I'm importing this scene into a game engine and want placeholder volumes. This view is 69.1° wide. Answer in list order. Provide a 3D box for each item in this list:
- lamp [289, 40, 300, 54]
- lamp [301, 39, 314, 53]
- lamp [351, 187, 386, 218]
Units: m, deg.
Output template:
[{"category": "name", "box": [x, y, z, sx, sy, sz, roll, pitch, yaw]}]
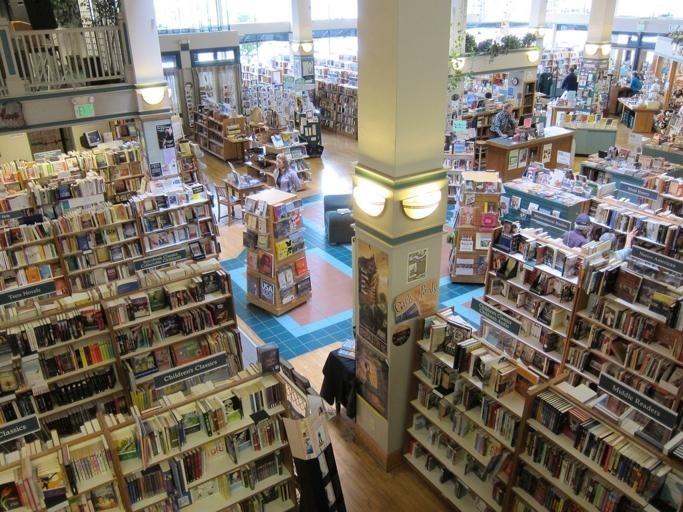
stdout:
[{"category": "lamp", "box": [-1.780, -7.785, 18.434, 0.154, 0.461, 0.793, -9, 24, -19]}, {"category": "lamp", "box": [-1.296, -7.712, 18.205, 0.398, 0.431, 0.423, 0, 22, 4]}, {"category": "lamp", "box": [0.327, -0.690, 6.315, 0.123, 0.353, 0.512, -9, 25, -41]}]
